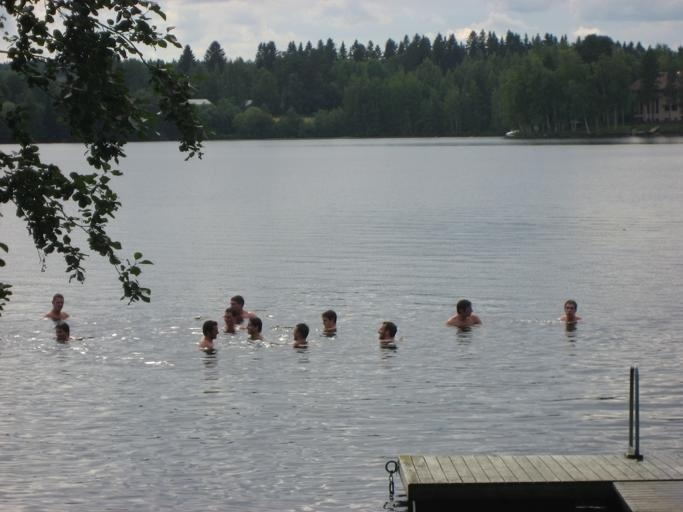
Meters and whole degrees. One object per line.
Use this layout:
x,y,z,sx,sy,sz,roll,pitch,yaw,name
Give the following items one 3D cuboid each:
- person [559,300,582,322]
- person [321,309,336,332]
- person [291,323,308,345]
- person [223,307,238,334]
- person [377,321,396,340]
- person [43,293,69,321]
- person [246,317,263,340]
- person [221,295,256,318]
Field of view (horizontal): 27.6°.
7.094,1.823,42.948,0.921,0.830,0.614,-1,-4,10,person
-0.331,2.016,42.399,0.444,0.584,0.893,-2,8,-2,person
-1.176,2.349,41.018,0.445,0.583,0.894,-2,8,-2,person
-3.355,2.052,42.549,0.782,0.798,0.433,0,-9,6,person
1.394,2.255,41.318,0.523,0.484,0.910,-1,8,2,person
-9.108,1.735,44.528,0.810,0.704,0.449,0,-6,-36,person
-2.650,2.253,41.500,0.574,0.671,0.804,3,3,13,person
-3.143,1.609,43.387,0.657,0.629,1.006,3,0,-28,person
